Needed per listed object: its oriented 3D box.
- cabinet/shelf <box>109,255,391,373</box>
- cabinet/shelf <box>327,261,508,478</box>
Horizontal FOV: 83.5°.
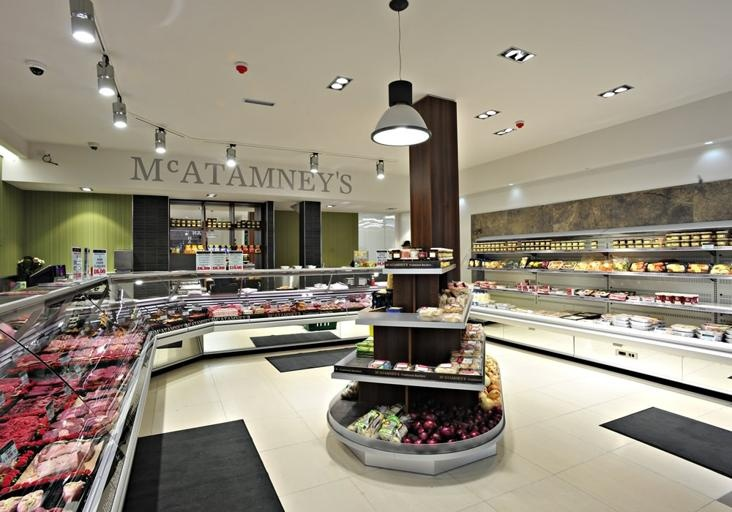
[{"bbox_3d":[-1.622,0.913,6.700,3.394,0.882,0.916,-3,7,-31],"label":"cabinet/shelf"},{"bbox_3d":[0.540,1.102,4.838,2.024,1.691,2.083,0,0,-1],"label":"cabinet/shelf"}]
